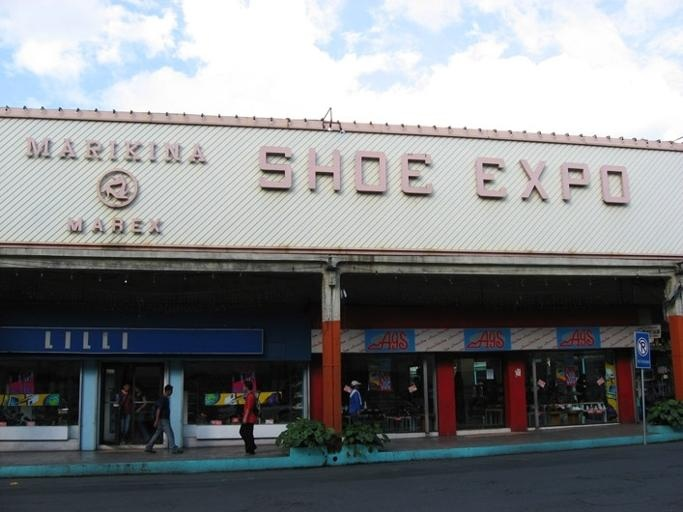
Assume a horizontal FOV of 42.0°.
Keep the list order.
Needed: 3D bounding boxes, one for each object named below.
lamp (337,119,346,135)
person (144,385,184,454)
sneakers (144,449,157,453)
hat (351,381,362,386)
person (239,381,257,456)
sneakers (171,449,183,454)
[{"bbox_3d":[-0.026,-3.439,23.816,0.180,0.302,0.347,-12,-18,29],"label":"lamp"},{"bbox_3d":[-4.683,4.241,23.542,0.905,1.915,1.526,1,-16,-12],"label":"person"},{"bbox_3d":[-4.915,5.050,23.023,0.292,0.123,0.470,1,-16,-13],"label":"sneakers"},{"bbox_3d":[0.438,3.653,25.518,0.191,0.155,0.310,2,-4,-31],"label":"hat"},{"bbox_3d":[-2.342,4.086,22.596,0.438,1.935,0.990,-1,-16,-6],"label":"person"},{"bbox_3d":[-4.231,5.027,23.006,0.301,0.128,0.106,3,-3,-22],"label":"sneakers"}]
